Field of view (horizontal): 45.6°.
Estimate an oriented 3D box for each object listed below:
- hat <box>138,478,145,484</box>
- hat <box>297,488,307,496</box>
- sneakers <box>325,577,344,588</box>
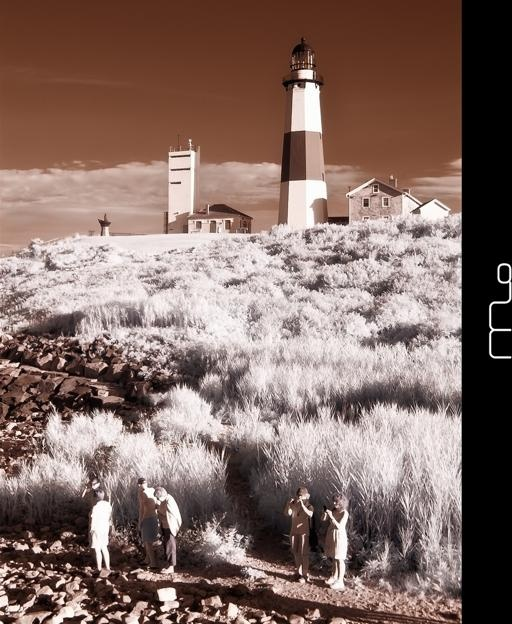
[{"bbox_3d":[-0.992,1.459,5.312,0.044,0.047,0.038,-5,2,-16],"label":"hat"},{"bbox_3d":[0.380,1.466,4.981,0.064,0.067,0.053,1,6,20],"label":"hat"},{"bbox_3d":[0.640,2.165,4.916,0.115,0.058,0.077,12,-1,23],"label":"sneakers"}]
